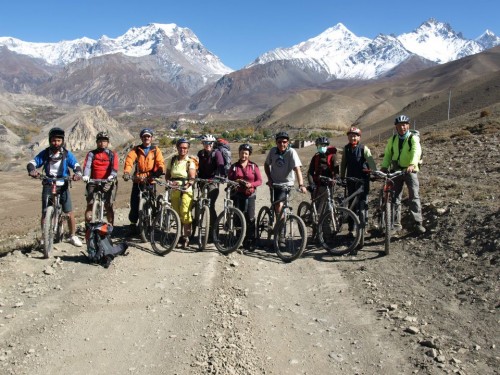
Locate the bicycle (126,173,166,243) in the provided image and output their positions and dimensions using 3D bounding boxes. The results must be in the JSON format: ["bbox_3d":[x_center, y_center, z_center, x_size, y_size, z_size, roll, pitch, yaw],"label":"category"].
[{"bbox_3d":[-2.822,0.429,11.255,0.866,1.468,2.288,-1,7,0],"label":"bicycle"}]

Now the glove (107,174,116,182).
[{"bbox_3d":[-3.541,-0.237,10.136,0.165,0.223,0.355,1,-4,-7],"label":"glove"}]

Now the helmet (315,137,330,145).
[{"bbox_3d":[2.005,-1.332,11.132,0.332,0.295,0.465,0,-4,19],"label":"helmet"}]

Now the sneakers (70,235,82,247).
[{"bbox_3d":[-4.566,1.392,10.425,0.385,0.175,0.187,12,16,43],"label":"sneakers"}]

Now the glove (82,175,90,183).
[{"bbox_3d":[-3.975,-0.203,9.638,0.153,0.045,0.159,9,-15,-11],"label":"glove"}]

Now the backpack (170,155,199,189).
[{"bbox_3d":[-1.867,-0.448,10.604,0.736,0.745,0.443,8,5,23],"label":"backpack"}]

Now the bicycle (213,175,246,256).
[{"bbox_3d":[-0.554,0.770,10.374,0.761,1.910,1.530,2,-3,-13],"label":"bicycle"}]

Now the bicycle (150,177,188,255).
[{"bbox_3d":[-2.132,0.768,10.267,0.700,1.947,1.331,3,-4,-37],"label":"bicycle"}]

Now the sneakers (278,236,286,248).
[{"bbox_3d":[0.814,1.374,10.007,0.225,0.268,0.269,2,-3,-5],"label":"sneakers"}]

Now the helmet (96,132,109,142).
[{"bbox_3d":[-3.827,-1.338,10.316,0.272,0.259,0.293,3,-4,-29],"label":"helmet"}]

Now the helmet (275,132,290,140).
[{"bbox_3d":[0.820,-1.321,10.194,0.346,0.254,0.506,1,-4,4],"label":"helmet"}]

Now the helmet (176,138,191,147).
[{"bbox_3d":[-1.757,-1.162,10.326,0.284,0.272,0.218,-6,1,15],"label":"helmet"}]

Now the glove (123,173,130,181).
[{"bbox_3d":[-3.124,-0.248,10.066,0.195,0.083,0.268,7,-17,5],"label":"glove"}]

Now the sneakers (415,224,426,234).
[{"bbox_3d":[4.526,1.086,10.545,0.175,0.150,0.415,44,-5,31],"label":"sneakers"}]

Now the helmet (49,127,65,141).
[{"bbox_3d":[-4.721,-1.308,9.716,0.316,0.429,0.408,-2,-8,-14],"label":"helmet"}]

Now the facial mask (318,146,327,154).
[{"bbox_3d":[2.020,-1.050,11.122,0.192,0.179,0.202,2,-5,17],"label":"facial mask"}]

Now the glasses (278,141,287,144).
[{"bbox_3d":[0.844,-1.156,10.052,0.227,0.088,0.106,3,-4,-28],"label":"glasses"}]

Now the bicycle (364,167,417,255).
[{"bbox_3d":[3.596,0.215,10.582,0.938,1.481,2.329,-2,15,16],"label":"bicycle"}]

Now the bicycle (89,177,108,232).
[{"bbox_3d":[-3.823,0.328,9.960,0.437,1.065,1.116,2,-4,-21],"label":"bicycle"}]
